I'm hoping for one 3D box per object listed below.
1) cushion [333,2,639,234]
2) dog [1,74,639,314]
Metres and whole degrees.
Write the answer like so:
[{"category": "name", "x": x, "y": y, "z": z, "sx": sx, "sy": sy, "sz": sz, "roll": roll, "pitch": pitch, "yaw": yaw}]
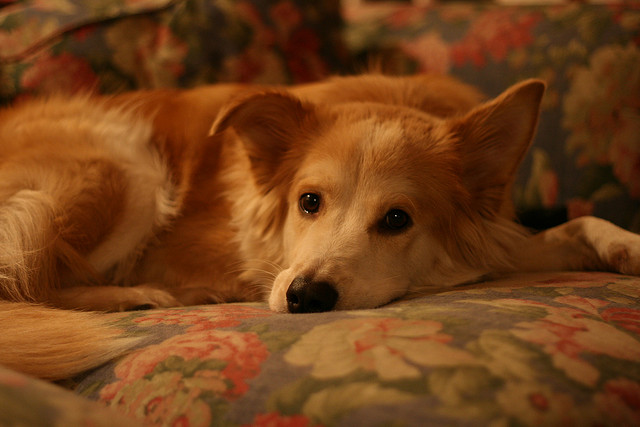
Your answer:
[{"category": "cushion", "x": 1.144, "y": -0.647, "z": 4.011, "sx": 1.573, "sy": 1.442, "sz": 0.747, "roll": 0, "pitch": -4, "yaw": 23}, {"category": "dog", "x": -0.228, "y": -0.116, "z": 2.871, "sx": 2.298, "sy": 0.651, "sz": 1.459, "roll": 0, "pitch": 5, "yaw": 21}]
